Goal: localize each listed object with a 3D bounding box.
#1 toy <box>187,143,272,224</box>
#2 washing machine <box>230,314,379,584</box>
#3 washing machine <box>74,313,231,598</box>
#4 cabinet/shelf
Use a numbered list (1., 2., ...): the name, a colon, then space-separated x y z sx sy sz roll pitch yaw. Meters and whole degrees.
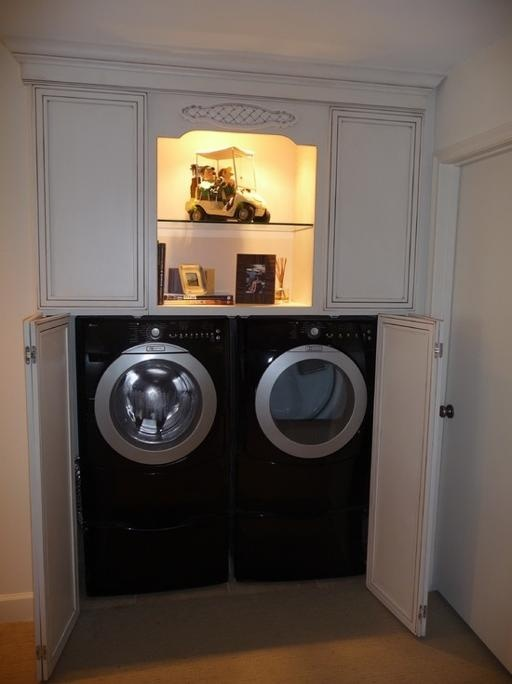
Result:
1. toy: -0.158 -0.699 2.318 0.441 0.445 0.257 -6 21 -15
2. washing machine: 0.205 0.323 2.502 0.578 1.189 0.613 -4 21 -8
3. washing machine: -0.436 0.382 2.420 0.757 1.230 0.734 -6 14 -36
4. cabinet/shelf: -0.130 0.074 2.096 1.744 2.689 0.637 -2 7 -14
